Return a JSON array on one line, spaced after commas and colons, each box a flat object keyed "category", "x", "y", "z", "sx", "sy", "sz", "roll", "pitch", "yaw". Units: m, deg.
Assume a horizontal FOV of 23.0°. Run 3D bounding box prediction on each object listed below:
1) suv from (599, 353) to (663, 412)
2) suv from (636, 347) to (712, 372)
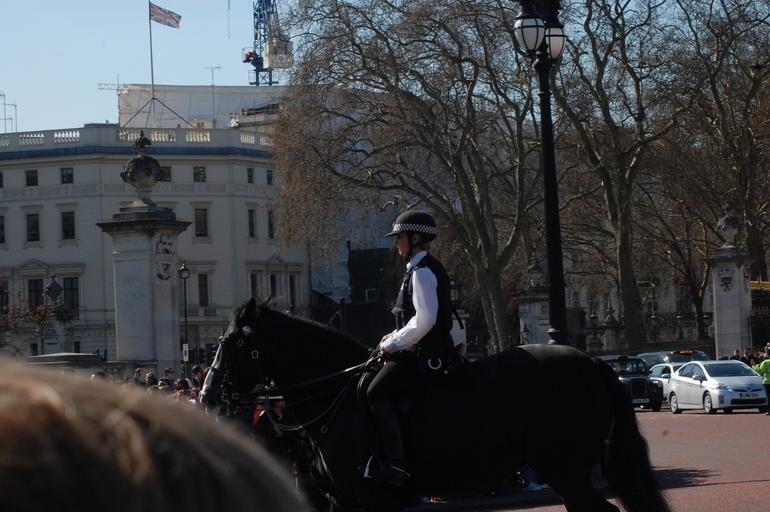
[{"category": "suv", "x": 10.840, "y": 5.780, "z": 87.574, "sx": 2.676, "sy": 2.113, "sz": 4.555, "roll": -3, "pitch": 9, "yaw": -19}, {"category": "suv", "x": 13.618, "y": 5.026, "z": 89.677, "sx": 1.418, "sy": 1.184, "sz": 2.665, "roll": 4, "pitch": -10, "yaw": -33}]
